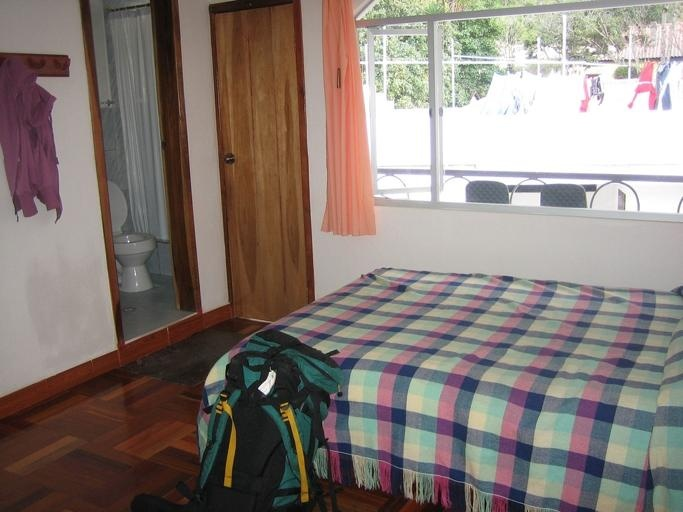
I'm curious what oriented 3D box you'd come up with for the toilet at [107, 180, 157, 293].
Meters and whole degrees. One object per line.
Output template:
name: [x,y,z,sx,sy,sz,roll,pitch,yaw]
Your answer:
toilet: [-2.025,-0.187,5.378,0.380,1.024,0.613,-8,15,-23]
